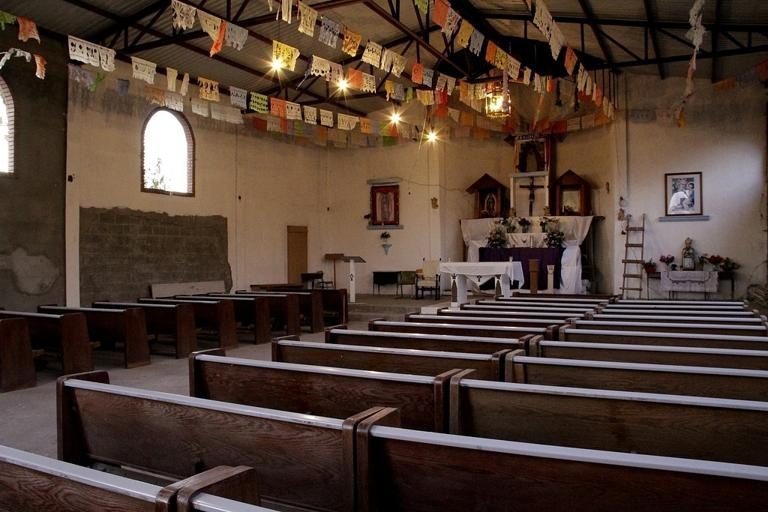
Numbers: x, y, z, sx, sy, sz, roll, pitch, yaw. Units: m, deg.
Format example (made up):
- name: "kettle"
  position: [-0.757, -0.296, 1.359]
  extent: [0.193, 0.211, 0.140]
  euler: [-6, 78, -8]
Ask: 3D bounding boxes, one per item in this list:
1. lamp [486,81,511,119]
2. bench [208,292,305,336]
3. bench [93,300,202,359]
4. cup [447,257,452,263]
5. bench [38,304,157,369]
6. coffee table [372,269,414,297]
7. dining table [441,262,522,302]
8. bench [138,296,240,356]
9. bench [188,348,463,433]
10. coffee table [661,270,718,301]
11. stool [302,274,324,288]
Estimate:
- name: "lamp"
  position: [2.105, -2.916, 11.304]
  extent: [0.438, 0.649, 0.464]
  euler: [-13, 22, -20]
- name: "bench"
  position: [-1.941, 0.953, 9.776]
  extent: [1.127, 0.573, 0.404]
  euler: [0, -16, -27]
- name: "bench"
  position: [-3.486, 1.051, 8.768]
  extent: [1.679, 0.675, 0.397]
  euler: [-4, -4, 20]
- name: "cup"
  position: [1.285, 0.075, 12.026]
  extent: [0.069, 0.120, 0.124]
  euler: [9, -11, -42]
- name: "bench"
  position: [-3.941, 1.141, 8.297]
  extent: [1.816, 0.727, 0.480]
  euler: [-7, 2, 35]
- name: "coffee table"
  position: [0.224, 0.676, 15.413]
  extent: [0.703, 0.627, 1.766]
  euler: [-1, 0, -24]
- name: "dining table"
  position: [1.595, 0.462, 10.469]
  extent: [1.297, 0.633, 0.566]
  euler: [-2, -2, 20]
- name: "bench"
  position: [-3.046, 1.056, 9.046]
  extent: [1.632, 0.656, 0.518]
  euler: [-5, 11, 22]
- name: "bench"
  position: [-0.482, 1.017, 4.474]
  extent: [1.836, 0.671, 0.547]
  euler: [4, 10, 14]
- name: "coffee table"
  position: [6.192, 0.568, 12.374]
  extent: [1.025, 0.546, 0.495]
  euler: [0, 0, 27]
- name: "stool"
  position: [-1.875, 0.630, 15.780]
  extent: [0.376, 0.478, 0.504]
  euler: [2, -3, -19]
